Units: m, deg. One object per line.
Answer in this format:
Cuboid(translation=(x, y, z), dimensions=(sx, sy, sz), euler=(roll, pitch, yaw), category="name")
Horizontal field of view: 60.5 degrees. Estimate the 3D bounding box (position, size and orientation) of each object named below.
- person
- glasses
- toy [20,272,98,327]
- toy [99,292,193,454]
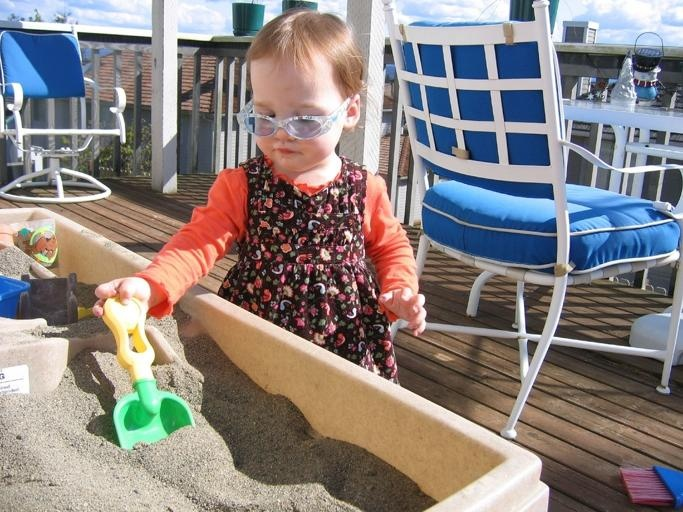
Cuboid(translation=(-0.115, -0.106, 1.133), dimensions=(0.570, 0.750, 0.341), euler=(2, 13, -10), category="person")
Cuboid(translation=(-0.100, -0.274, 1.151), dimensions=(0.226, 0.087, 0.176), euler=(5, 13, 4), category="glasses")
Cuboid(translation=(-0.553, 0.097, 1.196), dimensions=(0.139, 0.131, 0.101), euler=(2, 21, 0), category="toy")
Cuboid(translation=(-0.342, 0.194, 0.975), dimensions=(0.122, 0.247, 0.079), euler=(-12, -17, -37), category="toy")
